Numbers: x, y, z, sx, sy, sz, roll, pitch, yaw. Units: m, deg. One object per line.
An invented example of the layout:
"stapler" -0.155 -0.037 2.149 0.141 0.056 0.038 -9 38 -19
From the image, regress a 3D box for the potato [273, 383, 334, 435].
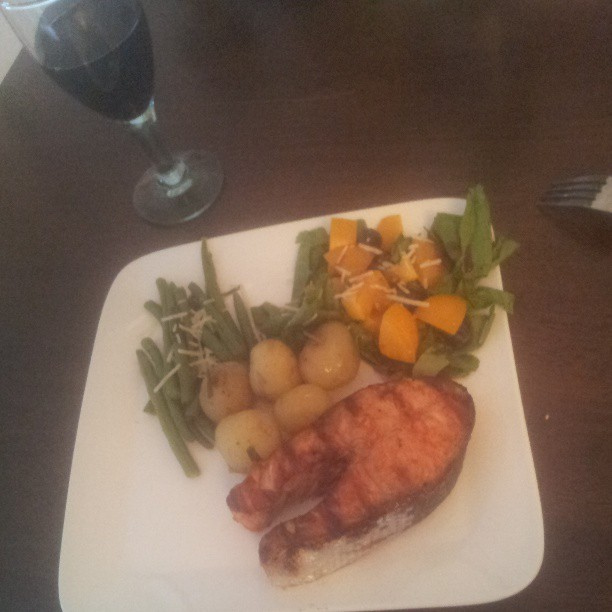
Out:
"potato" -0.009 0.176 1.092 0.107 0.051 0.073 -27 68 -4

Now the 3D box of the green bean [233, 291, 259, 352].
"green bean" -0.111 0.021 1.212 0.010 0.018 0.109 7 59 -37

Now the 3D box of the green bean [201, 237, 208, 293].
"green bean" -0.203 -0.091 1.246 0.011 0.006 0.097 -2 78 13

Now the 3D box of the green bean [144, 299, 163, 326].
"green bean" -0.310 0.002 1.253 0.021 0.011 0.075 -26 60 -14

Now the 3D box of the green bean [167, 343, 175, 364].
"green bean" -0.254 0.089 1.176 0.008 0.006 0.039 2 68 30

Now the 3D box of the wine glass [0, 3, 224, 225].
"wine glass" -0.380 -0.450 1.311 0.257 0.477 0.375 -37 68 -10

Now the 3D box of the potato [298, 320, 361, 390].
"potato" 0.036 0.093 1.126 0.115 0.059 0.106 -33 69 -6

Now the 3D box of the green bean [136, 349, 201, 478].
"green bean" -0.260 0.213 1.161 0.061 0.036 0.378 -21 79 16

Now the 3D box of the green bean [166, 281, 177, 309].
"green bean" -0.268 -0.023 1.213 0.013 0.006 0.052 10 51 -7

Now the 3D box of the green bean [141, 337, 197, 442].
"green bean" -0.262 0.156 1.173 0.028 0.038 0.218 -26 70 -5
